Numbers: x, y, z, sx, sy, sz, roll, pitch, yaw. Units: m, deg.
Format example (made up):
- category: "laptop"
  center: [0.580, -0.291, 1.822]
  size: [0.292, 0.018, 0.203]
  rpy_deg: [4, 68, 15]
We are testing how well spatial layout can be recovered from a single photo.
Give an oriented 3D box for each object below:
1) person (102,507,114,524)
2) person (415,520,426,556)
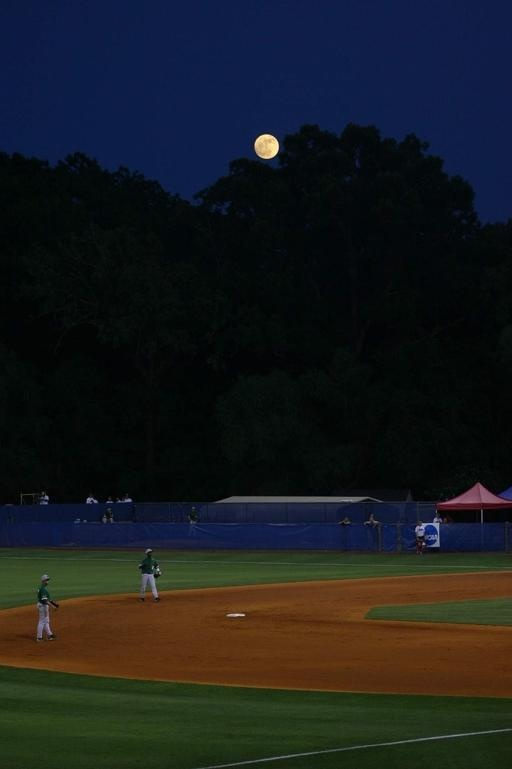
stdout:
- category: "person"
  center: [-7.791, 6.885, 60.065]
  size: [0.578, 0.773, 1.387]
  rpy_deg: [2, -1, 3]
- category: "person"
  center: [6.653, 6.307, 47.122]
  size: [0.406, 1.227, 1.465]
  rpy_deg: [-5, 6, 8]
